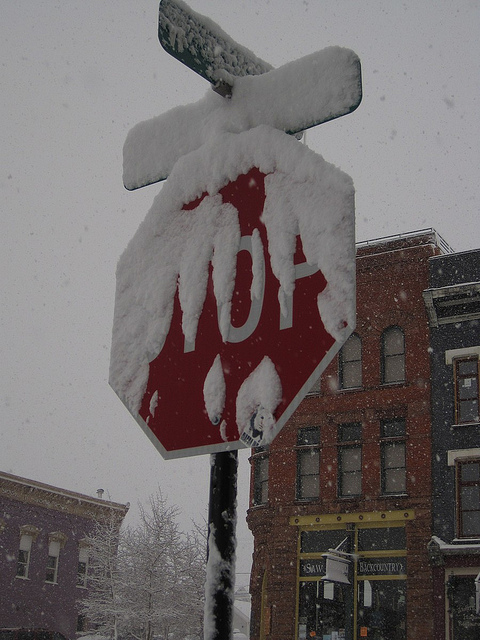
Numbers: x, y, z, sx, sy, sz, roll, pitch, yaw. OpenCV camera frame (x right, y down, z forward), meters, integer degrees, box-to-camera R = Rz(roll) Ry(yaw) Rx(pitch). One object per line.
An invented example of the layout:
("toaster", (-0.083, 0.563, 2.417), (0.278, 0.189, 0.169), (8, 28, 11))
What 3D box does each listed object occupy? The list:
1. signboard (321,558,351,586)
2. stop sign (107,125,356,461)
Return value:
("signboard", (2.159, 5.521, 22.914), (0.115, 0.483, 0.787), (-6, -21, 25))
("stop sign", (-0.031, -0.102, 3.106), (0.810, 1.150, 0.022), (-11, -33, 21))
